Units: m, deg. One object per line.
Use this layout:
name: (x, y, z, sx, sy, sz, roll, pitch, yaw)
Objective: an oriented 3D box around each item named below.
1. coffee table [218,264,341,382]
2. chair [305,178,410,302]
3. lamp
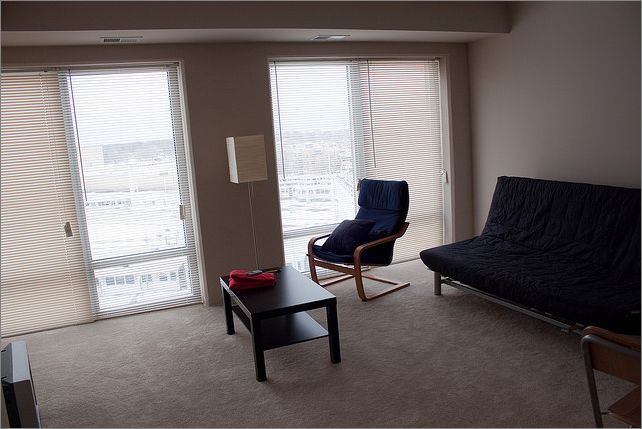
coffee table: (-0.452, 1.012, 4.544, 0.905, 0.517, 1.235, -6, 7, -20)
chair: (0.462, 0.269, 5.595, 1.101, 1.303, 0.896, -14, 16, -35)
lamp: (-0.846, -0.039, 5.525, 0.433, 1.844, 0.390, -11, 22, -19)
